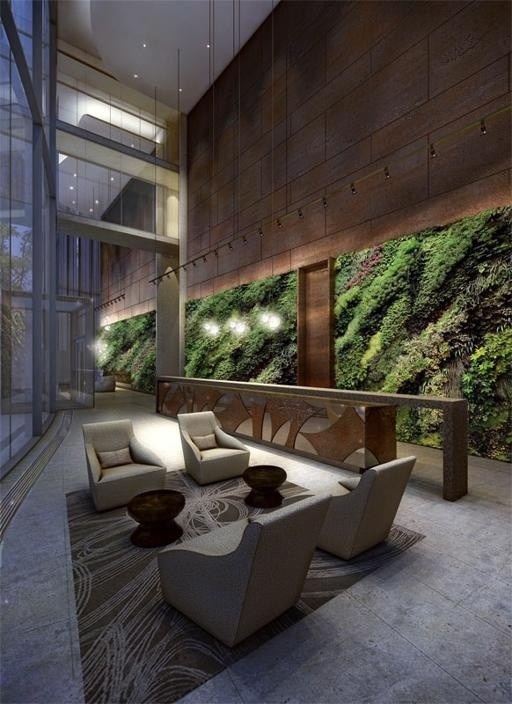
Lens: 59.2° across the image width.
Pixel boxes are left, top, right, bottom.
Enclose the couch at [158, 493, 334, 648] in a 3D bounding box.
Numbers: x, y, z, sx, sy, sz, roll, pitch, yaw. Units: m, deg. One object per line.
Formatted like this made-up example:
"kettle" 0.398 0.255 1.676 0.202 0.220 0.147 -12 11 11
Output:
"couch" -0.064 1.076 2.471 0.799 0.667 0.769 5 1 14
